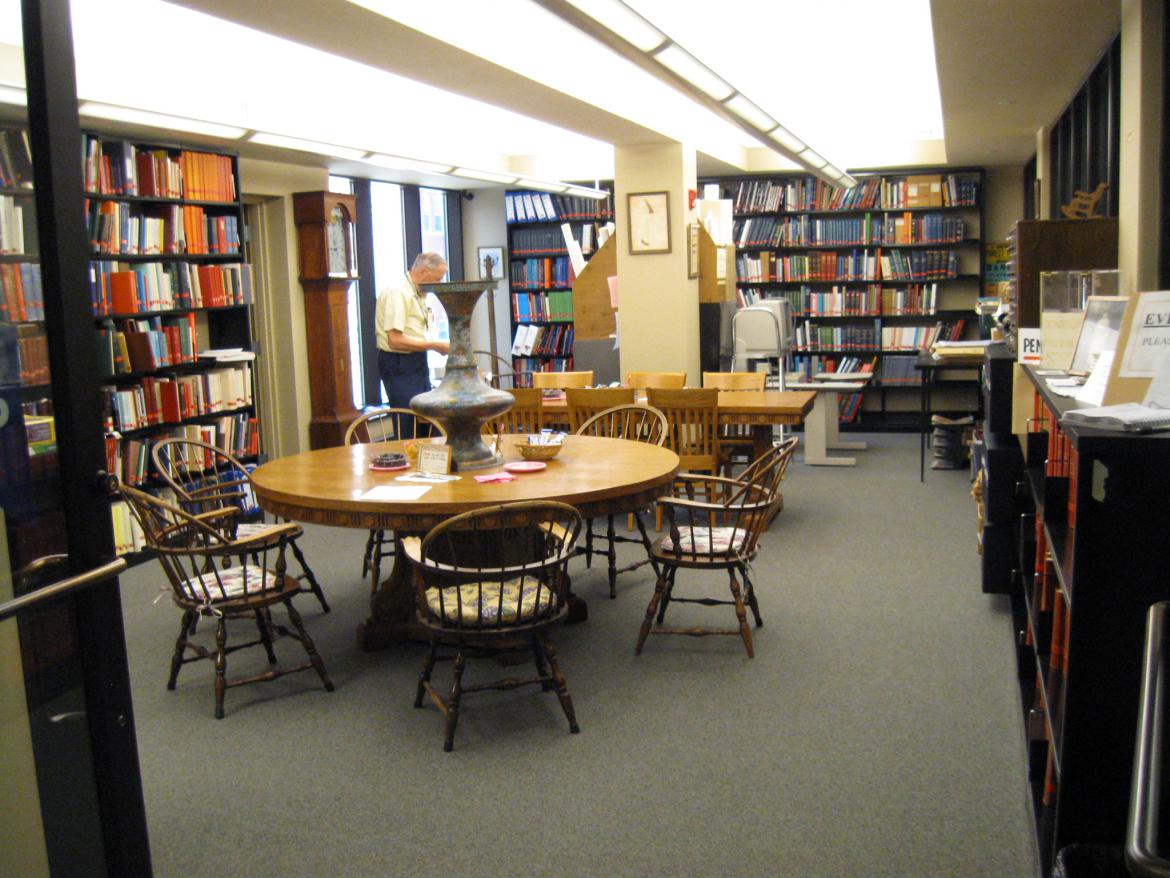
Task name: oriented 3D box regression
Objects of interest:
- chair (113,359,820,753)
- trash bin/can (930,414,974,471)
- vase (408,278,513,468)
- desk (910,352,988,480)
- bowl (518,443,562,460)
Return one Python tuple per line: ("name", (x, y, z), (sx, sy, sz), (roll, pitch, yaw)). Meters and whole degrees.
("chair", (-0.504, 0.284, 5.169), (2.770, 1.388, 4.004), (3, 14, 29))
("trash bin/can", (3.347, 0.036, 8.105), (0.497, 0.590, 0.475), (-1, 2, 11))
("vase", (-0.603, -0.314, 4.207), (0.480, 0.871, 0.449), (-5, 13, -7))
("desk", (3.404, -0.223, 8.203), (0.816, 1.088, 1.197), (2, 14, 22))
("bowl", (-0.218, 0.059, 4.289), (0.189, 0.092, 0.153), (-4, 12, -4))
